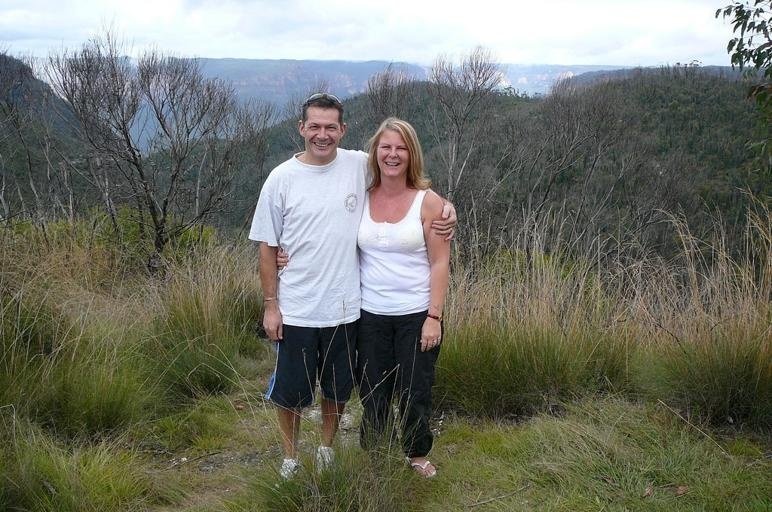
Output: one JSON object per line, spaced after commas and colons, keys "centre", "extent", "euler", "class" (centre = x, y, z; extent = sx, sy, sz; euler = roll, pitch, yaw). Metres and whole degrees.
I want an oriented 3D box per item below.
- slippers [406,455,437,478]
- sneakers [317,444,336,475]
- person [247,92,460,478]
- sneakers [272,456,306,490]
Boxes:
{"centre": [0.327, 1.923, 5.395], "extent": [0.135, 0.167, 0.374], "euler": [-14, -1, -30], "class": "slippers"}
{"centre": [-0.523, 1.713, 5.025], "extent": [0.129, 0.212, 0.158], "euler": [-3, -5, 21], "class": "sneakers"}
{"centre": [-0.693, 0.201, 5.265], "extent": [0.971, 3.205, 0.460], "euler": [1, 9, -3], "class": "person"}
{"centre": [-0.851, 1.833, 5.035], "extent": [0.142, 0.078, 0.194], "euler": [-16, 7, 18], "class": "sneakers"}
